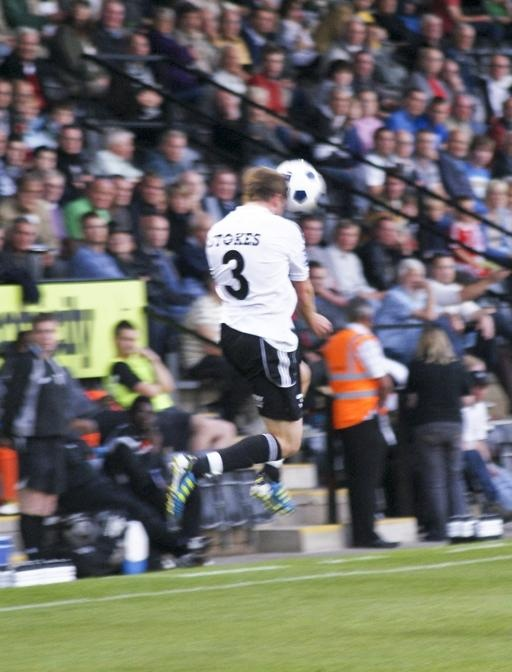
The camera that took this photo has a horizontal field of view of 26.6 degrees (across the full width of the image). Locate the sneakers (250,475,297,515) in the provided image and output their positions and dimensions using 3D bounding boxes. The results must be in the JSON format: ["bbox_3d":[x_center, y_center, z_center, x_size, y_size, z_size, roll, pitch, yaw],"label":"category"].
[{"bbox_3d":[0.047,0.759,5.140,0.283,0.100,0.129,40,6,-19],"label":"sneakers"}]

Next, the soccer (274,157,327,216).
[{"bbox_3d":[0.357,-0.874,6.570,0.399,0.341,0.337,7,17,2],"label":"soccer"}]

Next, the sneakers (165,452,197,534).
[{"bbox_3d":[-0.345,0.694,4.872,0.136,0.307,0.149,5,-5,5],"label":"sneakers"}]
